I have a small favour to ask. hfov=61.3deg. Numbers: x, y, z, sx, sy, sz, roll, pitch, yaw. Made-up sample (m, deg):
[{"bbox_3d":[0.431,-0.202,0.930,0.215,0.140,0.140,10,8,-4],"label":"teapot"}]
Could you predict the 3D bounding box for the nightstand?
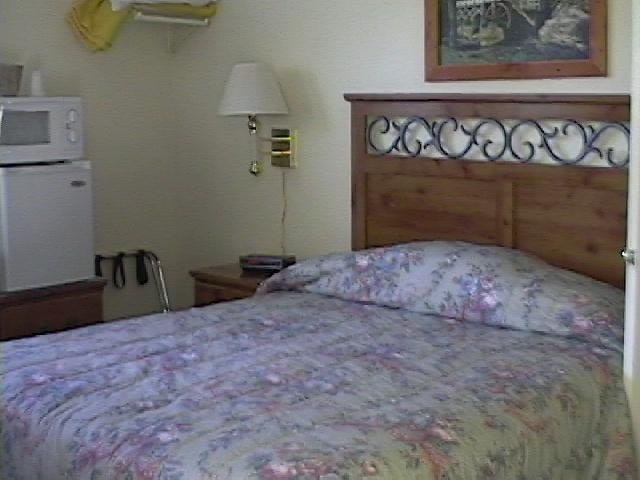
[{"bbox_3d":[-0.473,0.223,3.072,0.457,0.203,0.442,1,5,38],"label":"nightstand"}]
